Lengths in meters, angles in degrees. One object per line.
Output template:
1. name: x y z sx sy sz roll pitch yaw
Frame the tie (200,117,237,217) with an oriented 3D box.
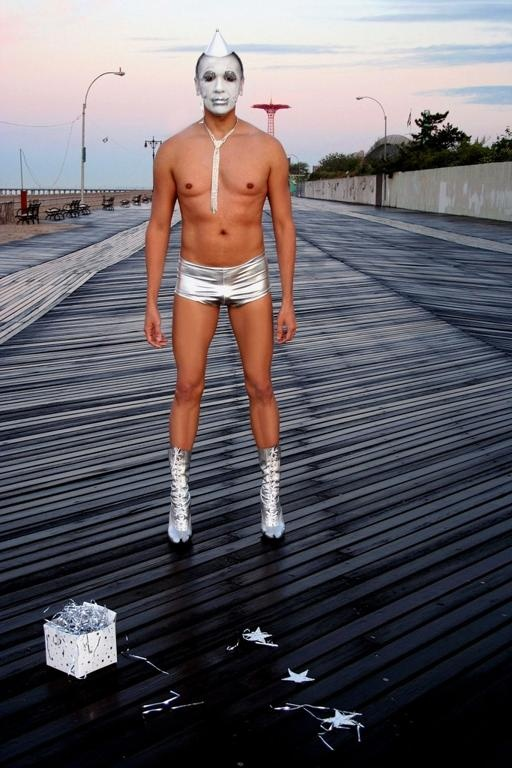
1. tie: -0.145 -0.802 2.126 0.137 0.364 0.134 1 6 7

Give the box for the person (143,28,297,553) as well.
1. person: -0.118 -0.351 2.241 0.611 1.970 0.467 -1 6 -9
